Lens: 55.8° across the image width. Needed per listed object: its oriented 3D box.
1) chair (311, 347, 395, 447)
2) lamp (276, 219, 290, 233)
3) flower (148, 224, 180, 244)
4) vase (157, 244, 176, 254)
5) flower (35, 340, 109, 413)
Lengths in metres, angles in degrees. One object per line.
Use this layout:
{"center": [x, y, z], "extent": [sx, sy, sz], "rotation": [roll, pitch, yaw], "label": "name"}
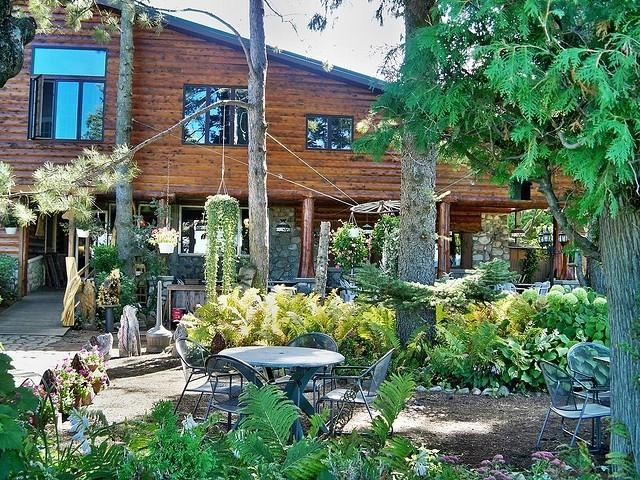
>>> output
{"center": [0.406, 1.670, 6.574], "extent": [0.965, 1.364, 0.793], "rotation": [1, -8, 9], "label": "chair"}
{"center": [-0.965, -0.364, 15.987], "extent": [0.359, 0.374, 0.370], "rotation": [0, 4, -2], "label": "lamp"}
{"center": [-3.414, -0.080, 13.244], "extent": [0.490, 0.375, 0.511], "rotation": [0, 0, -4], "label": "flower"}
{"center": [-3.362, 0.192, 13.109], "extent": [0.333, 0.207, 0.346], "rotation": [-1, -2, 6], "label": "vase"}
{"center": [-2.710, 1.348, 6.557], "extent": [0.824, 0.599, 1.443], "rotation": [0, -6, -9], "label": "flower"}
